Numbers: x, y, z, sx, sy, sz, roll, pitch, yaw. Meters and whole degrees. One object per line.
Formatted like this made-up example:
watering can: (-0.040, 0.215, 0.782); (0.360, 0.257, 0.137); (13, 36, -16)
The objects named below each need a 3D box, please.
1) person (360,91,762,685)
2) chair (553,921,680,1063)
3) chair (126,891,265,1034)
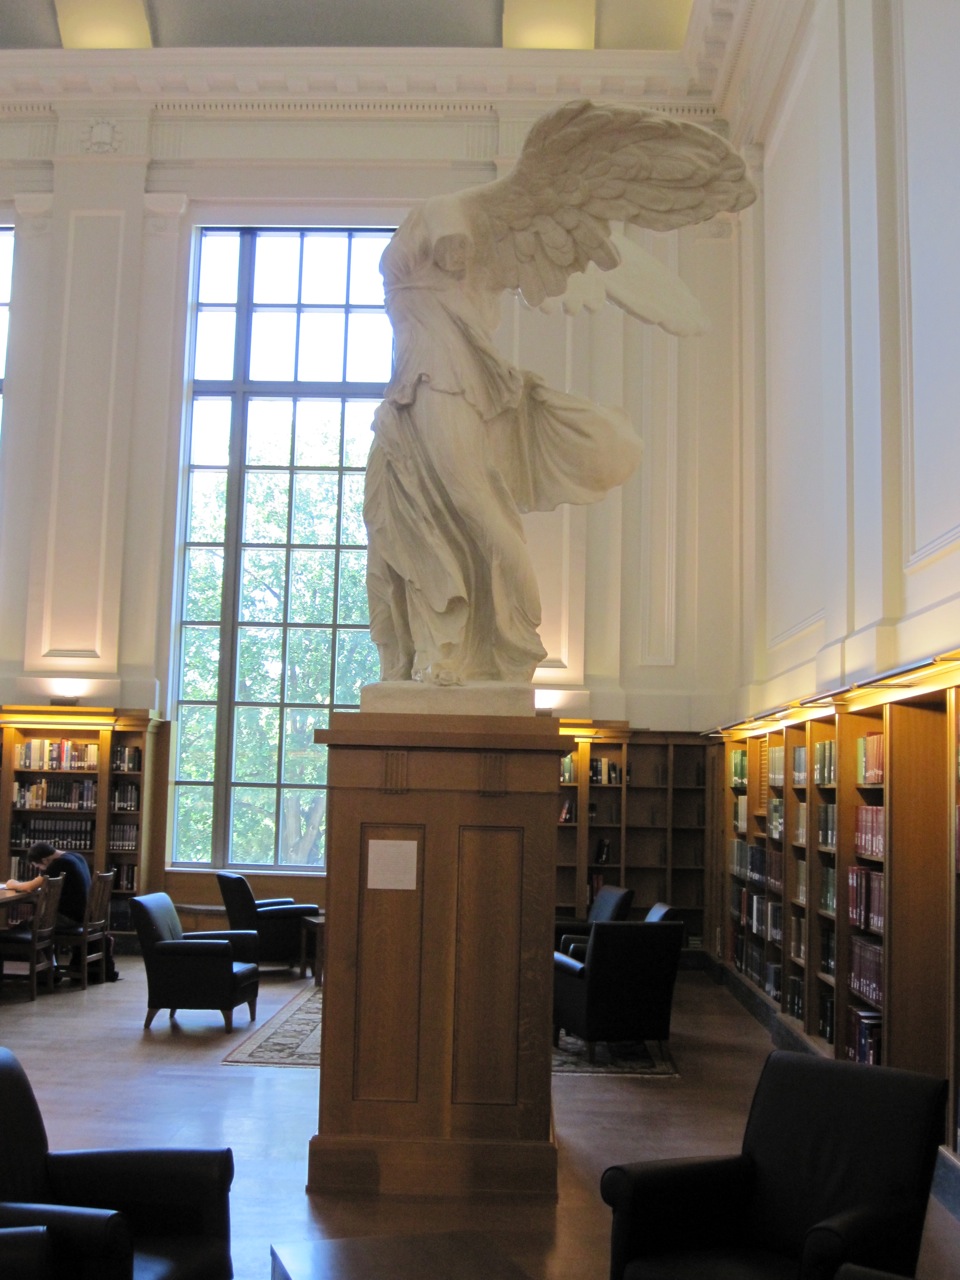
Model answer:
person: (0.197, -0.822, 4.218); (1.261, 2.034, 0.852); (1, -9, -1)
chair: (0.746, 1.954, 6.376); (0.672, 0.751, 0.567); (1, -9, 4)
chair: (-1.766, 2.024, 7.387); (0.881, 1.023, 0.787); (0, -6, 0)
